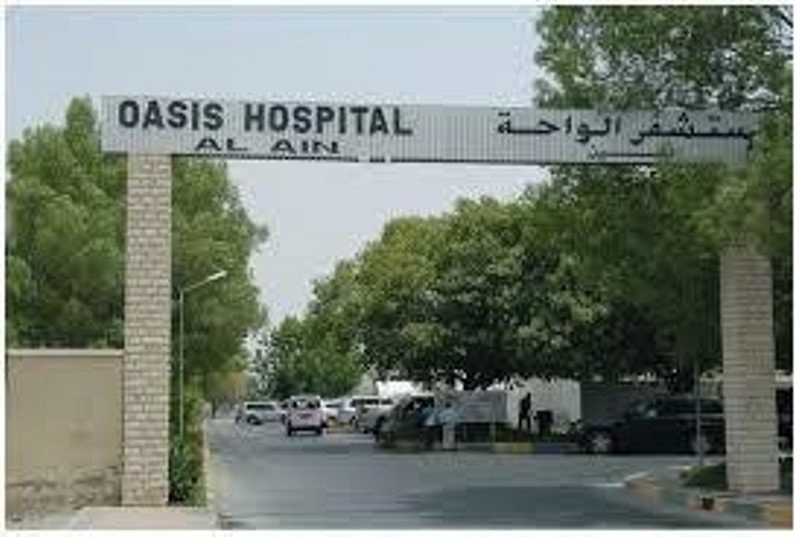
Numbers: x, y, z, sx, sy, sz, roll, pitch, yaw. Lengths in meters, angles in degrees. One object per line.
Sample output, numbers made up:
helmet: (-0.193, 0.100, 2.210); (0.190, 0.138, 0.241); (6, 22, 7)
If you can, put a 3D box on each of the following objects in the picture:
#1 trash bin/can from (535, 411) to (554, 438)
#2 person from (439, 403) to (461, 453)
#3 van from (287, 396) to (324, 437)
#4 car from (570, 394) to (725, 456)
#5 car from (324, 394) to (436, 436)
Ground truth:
trash bin/can: (5.627, 5.948, 51.369); (0.822, 1.275, 0.870); (-1, 3, -7)
person: (1.732, 5.756, 47.480); (0.688, 1.541, 0.792); (0, -8, -2)
van: (-4.322, 6.707, 60.640); (1.609, 1.831, 1.749); (1, -9, -6)
car: (8.491, 5.448, 45.951); (4.711, 1.953, 2.267); (2, -6, 7)
car: (-0.440, 6.267, 55.534); (3.769, 1.439, 1.762); (-2, -2, -7)
